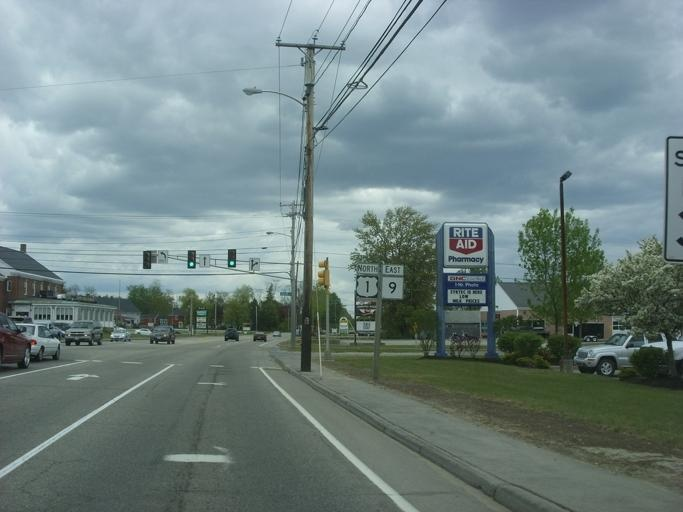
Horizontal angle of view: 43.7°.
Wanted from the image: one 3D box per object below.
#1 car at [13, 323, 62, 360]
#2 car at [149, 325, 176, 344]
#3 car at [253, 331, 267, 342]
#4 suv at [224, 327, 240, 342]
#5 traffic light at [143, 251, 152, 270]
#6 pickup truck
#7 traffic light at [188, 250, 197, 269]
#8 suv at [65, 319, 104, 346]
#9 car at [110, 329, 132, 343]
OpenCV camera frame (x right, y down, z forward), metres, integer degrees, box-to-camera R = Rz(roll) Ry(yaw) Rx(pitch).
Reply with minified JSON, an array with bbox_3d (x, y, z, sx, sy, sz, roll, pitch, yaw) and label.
[{"bbox_3d":[-11.958,3.411,33.593,1.140,0.978,2.557,0,-3,0],"label":"car"},{"bbox_3d":[-14.204,6.297,67.989,1.711,1.684,3.194,0,-10,-6],"label":"car"},{"bbox_3d":[-8.638,8.670,91.351,0.933,0.741,2.151,0,-10,-1],"label":"car"},{"bbox_3d":[-10.996,7.959,86.116,0.895,0.844,2.050,-1,-10,-2],"label":"suv"},{"bbox_3d":[-10.945,0.167,48.091,0.363,0.985,1.273,0,-10,-3],"label":"traffic light"},{"bbox_3d":[10.402,3.616,32.008,2.676,1.239,1.555,1,-7,5],"label":"pickup truck"},{"bbox_3d":[-8.565,0.208,49.232,0.503,0.953,0.308,6,-10,-40],"label":"traffic light"},{"bbox_3d":[-16.791,5.039,56.312,1.324,1.150,2.510,0,-11,-1],"label":"suv"},{"bbox_3d":[-18.823,6.838,73.142,1.047,0.809,1.879,0,-13,-6],"label":"car"}]
